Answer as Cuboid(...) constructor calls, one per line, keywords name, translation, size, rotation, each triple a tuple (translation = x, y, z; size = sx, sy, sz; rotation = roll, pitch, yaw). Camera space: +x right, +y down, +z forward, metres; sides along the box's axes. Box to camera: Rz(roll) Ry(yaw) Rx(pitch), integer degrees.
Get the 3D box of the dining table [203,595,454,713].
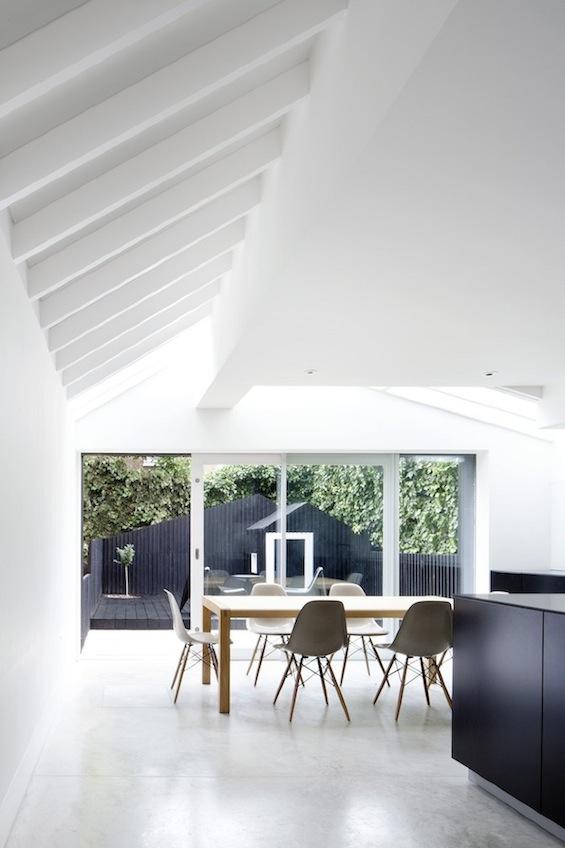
Cuboid(name="dining table", translation=(0.279, 1.994, 6.179), size=(2.094, 0.859, 2.428), rotation=(1, -10, -2))
